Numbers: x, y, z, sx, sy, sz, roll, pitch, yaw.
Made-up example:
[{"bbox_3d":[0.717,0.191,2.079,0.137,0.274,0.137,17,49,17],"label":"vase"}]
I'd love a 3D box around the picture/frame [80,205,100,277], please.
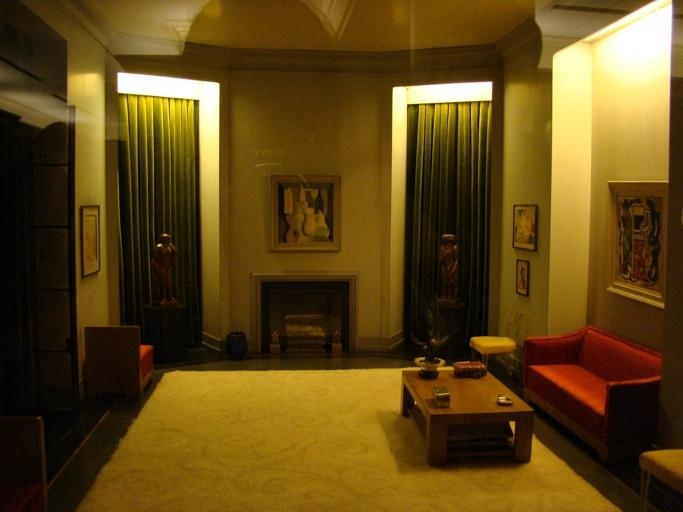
[{"bbox_3d":[-1.373,-0.084,2.923,0.051,0.392,0.165,4,9,10],"label":"picture/frame"}]

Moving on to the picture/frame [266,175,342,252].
[{"bbox_3d":[-0.219,-0.258,3.265,0.408,0.483,0.044,0,-23,-5],"label":"picture/frame"}]

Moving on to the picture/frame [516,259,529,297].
[{"bbox_3d":[1.002,0.130,2.972,0.130,0.191,0.009,11,-11,-41],"label":"picture/frame"}]

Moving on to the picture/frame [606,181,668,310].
[{"bbox_3d":[1.760,-0.083,3.192,0.111,0.726,0.384,-2,10,-30],"label":"picture/frame"}]

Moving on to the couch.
[{"bbox_3d":[1.539,0.785,3.246,0.393,0.551,0.838,-1,9,-8],"label":"couch"}]

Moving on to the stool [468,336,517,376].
[{"bbox_3d":[0.900,0.581,3.204,0.186,0.188,0.197,0,0,-10],"label":"stool"}]
